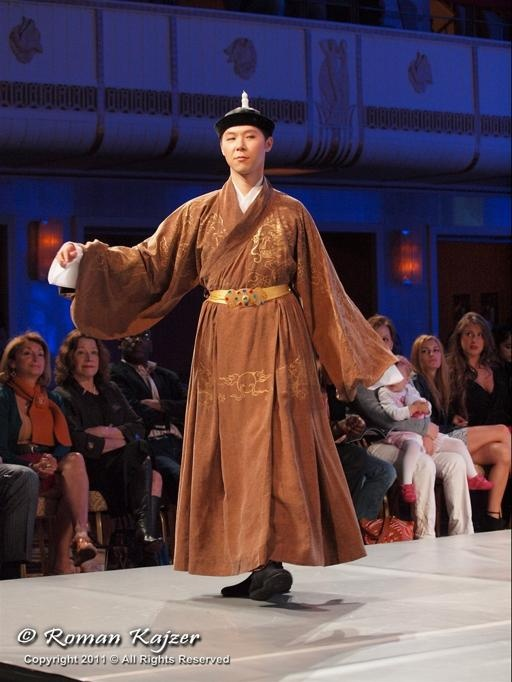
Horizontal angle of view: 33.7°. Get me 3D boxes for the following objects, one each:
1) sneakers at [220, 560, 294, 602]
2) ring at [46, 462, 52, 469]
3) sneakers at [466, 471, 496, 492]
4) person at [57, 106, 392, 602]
[{"bbox_3d":[-0.006,0.720,2.566,0.211,0.122,0.207,0,-4,-2],"label":"sneakers"},{"bbox_3d":[-0.863,0.514,3.512,0.017,0.019,0.008,-3,5,-25],"label":"ring"},{"bbox_3d":[1.195,0.761,4.561,0.176,0.065,0.068,9,-56,-41],"label":"sneakers"},{"bbox_3d":[-0.069,-0.008,2.617,0.925,1.381,0.436,-2,-4,20],"label":"person"}]
